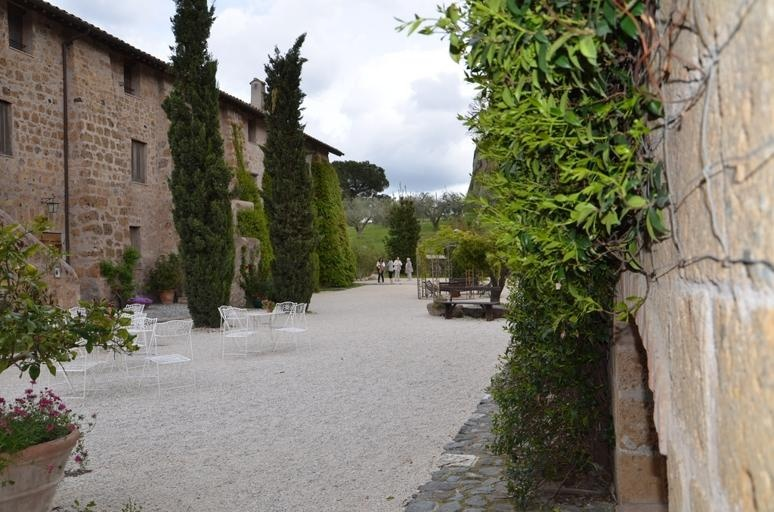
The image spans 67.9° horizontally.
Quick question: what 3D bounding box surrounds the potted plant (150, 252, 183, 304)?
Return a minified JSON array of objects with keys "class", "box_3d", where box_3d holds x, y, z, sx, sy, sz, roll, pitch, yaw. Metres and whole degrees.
[{"class":"potted plant","box_3d":[-6.545,0.641,16.962,0.973,1.502,0.647,-2,-3,-36]}]
